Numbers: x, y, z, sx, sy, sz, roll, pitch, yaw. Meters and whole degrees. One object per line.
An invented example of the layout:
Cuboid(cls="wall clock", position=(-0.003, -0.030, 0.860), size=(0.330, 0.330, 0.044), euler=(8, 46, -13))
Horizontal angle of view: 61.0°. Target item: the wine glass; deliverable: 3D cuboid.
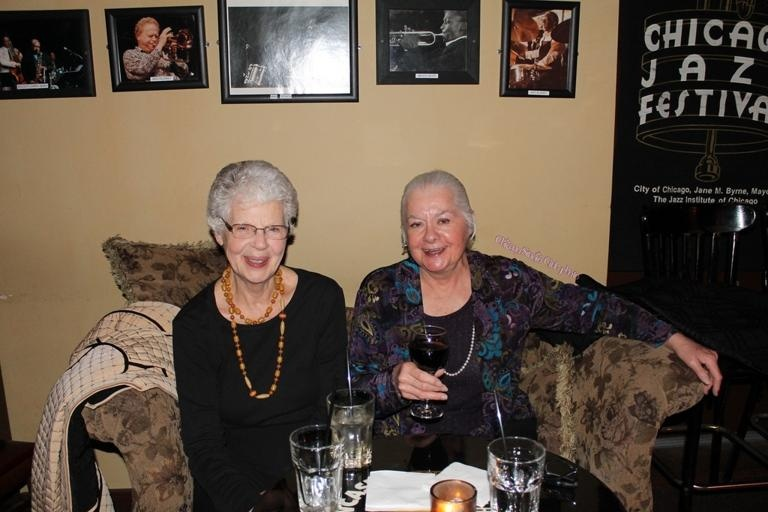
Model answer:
Cuboid(cls="wine glass", position=(0.207, 0.585, 3.081), size=(0.176, 0.525, 0.326), euler=(1, 10, 3))

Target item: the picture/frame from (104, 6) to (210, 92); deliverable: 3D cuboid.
Cuboid(cls="picture/frame", position=(-1.310, -1.219, 3.764), size=(0.437, 0.395, 0.031), euler=(-2, 10, -1))

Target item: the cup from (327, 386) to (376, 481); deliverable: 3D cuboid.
Cuboid(cls="cup", position=(-0.116, 0.744, 2.773), size=(0.270, 0.446, 0.294), euler=(-2, 4, 0))

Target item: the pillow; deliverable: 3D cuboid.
Cuboid(cls="pillow", position=(-1.190, 0.069, 3.555), size=(0.458, 0.457, 0.109), euler=(-11, -20, -30))

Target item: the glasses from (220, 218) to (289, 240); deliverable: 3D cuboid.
Cuboid(cls="glasses", position=(-0.619, -0.130, 3.126), size=(0.313, 0.096, 0.088), euler=(-2, 10, -11))
